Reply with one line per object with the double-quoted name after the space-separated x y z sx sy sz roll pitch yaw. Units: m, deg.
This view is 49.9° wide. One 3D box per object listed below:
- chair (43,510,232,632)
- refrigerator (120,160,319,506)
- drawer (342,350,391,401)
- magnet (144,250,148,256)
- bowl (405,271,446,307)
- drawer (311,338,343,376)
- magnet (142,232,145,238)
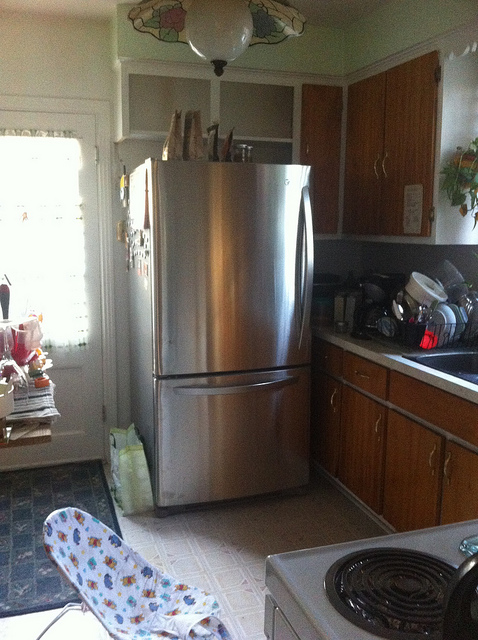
-0.265 0.621 1.323 0.409 0.336 0.286 -4 10 -13 "chair"
-0.140 0.081 2.928 0.818 1.864 0.853 -3 8 -21 "refrigerator"
0.632 0.256 2.511 0.149 0.113 0.228 0 10 -24 "drawer"
-0.474 -0.332 2.590 0.006 0.026 0.024 -7 8 -42 "magnet"
0.870 -0.109 2.431 0.153 0.054 0.152 30 30 -19 "bowl"
0.495 0.212 2.904 0.129 0.152 0.228 0 10 -19 "drawer"
-0.490 -0.427 2.614 0.017 0.035 0.022 0 10 -10 "magnet"
